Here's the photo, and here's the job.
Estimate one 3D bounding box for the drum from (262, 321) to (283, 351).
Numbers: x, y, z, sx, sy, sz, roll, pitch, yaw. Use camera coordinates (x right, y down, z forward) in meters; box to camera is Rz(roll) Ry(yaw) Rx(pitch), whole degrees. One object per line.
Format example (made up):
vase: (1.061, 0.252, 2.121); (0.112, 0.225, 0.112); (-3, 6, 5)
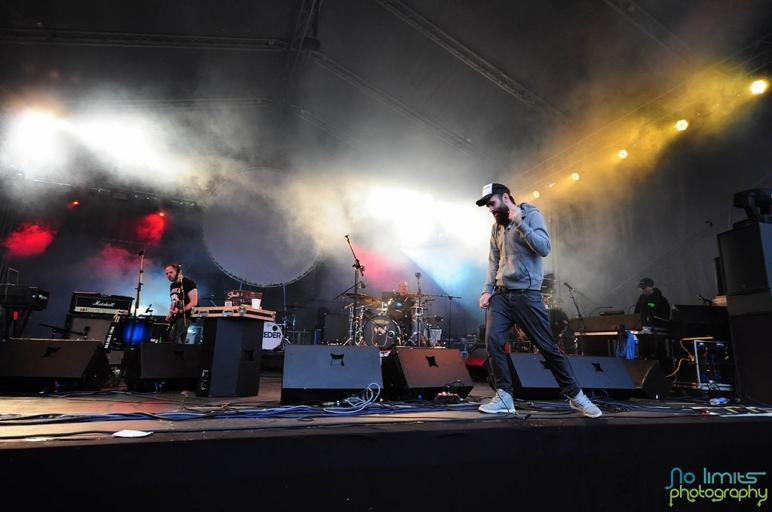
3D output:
drum: (-2.464, 1.778, 11.250); (0.254, 0.614, 0.674); (-3, -15, 17)

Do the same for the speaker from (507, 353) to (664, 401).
speaker: (2.618, 1.561, 6.344); (2.228, 0.646, 0.599); (2, -4, -22)

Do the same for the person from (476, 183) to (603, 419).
person: (1.547, 0.464, 5.718); (1.068, 2.502, 0.689); (-1, -14, 9)

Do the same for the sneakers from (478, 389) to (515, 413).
sneakers: (1.190, 1.558, 5.510); (0.379, 0.261, 0.190); (-2, -15, 12)

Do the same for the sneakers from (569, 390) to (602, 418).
sneakers: (2.128, 1.607, 5.570); (0.154, 0.191, 0.451); (-6, -10, -19)

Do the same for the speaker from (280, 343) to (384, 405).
speaker: (-0.608, 1.356, 5.907); (1.131, 0.649, 0.196); (5, -15, -16)

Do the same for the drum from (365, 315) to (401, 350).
drum: (-0.079, 1.565, 10.383); (0.764, 0.762, 0.412); (6, 1, 2)

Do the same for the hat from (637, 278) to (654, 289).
hat: (5.048, 0.535, 9.919); (0.290, 0.159, 0.212); (1, -5, -14)
